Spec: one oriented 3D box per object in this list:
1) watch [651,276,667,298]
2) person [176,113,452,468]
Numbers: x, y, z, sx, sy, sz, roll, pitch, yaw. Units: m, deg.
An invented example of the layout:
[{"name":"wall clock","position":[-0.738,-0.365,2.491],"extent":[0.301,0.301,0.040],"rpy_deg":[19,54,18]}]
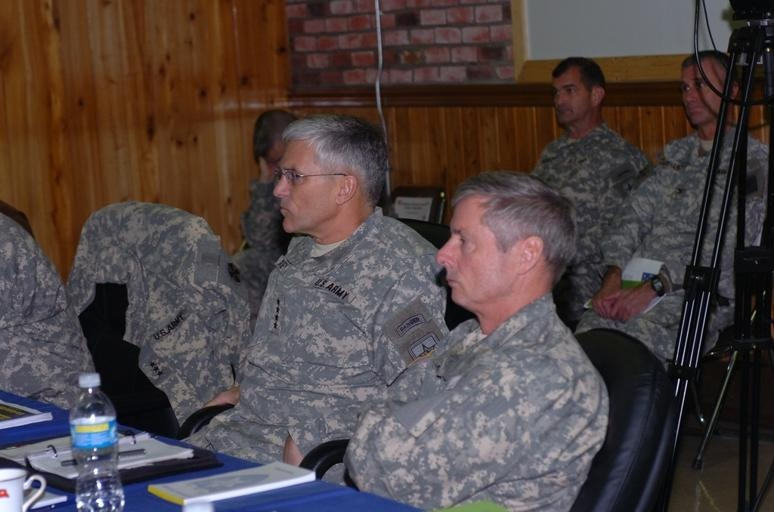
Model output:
[{"name":"watch","position":[1.164,0.135,3.271],"extent":[0.057,0.070,0.076],"rpy_deg":[-33,14,7]},{"name":"person","position":[-0.310,0.227,2.659],"extent":[0.837,1.365,0.954],"rpy_deg":[0,10,-31]}]
